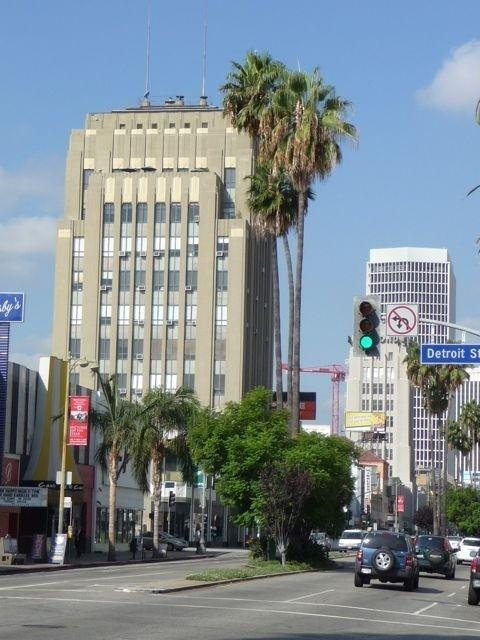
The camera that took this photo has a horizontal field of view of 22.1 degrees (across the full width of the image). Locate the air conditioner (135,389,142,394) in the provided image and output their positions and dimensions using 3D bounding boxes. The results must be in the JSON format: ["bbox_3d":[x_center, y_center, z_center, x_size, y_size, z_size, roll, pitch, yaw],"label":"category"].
[{"bbox_3d":[-8.695,5.932,104.948,0.581,0.579,1.570,1,-12,-7],"label":"air conditioner"}]

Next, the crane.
[{"bbox_3d":[9.611,9.764,162.730,8.548,2.138,12.495,6,38,1],"label":"crane"}]

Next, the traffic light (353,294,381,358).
[{"bbox_3d":[2.333,0.092,22.725,0.488,1.083,0.321,-3,-9,21],"label":"traffic light"}]
